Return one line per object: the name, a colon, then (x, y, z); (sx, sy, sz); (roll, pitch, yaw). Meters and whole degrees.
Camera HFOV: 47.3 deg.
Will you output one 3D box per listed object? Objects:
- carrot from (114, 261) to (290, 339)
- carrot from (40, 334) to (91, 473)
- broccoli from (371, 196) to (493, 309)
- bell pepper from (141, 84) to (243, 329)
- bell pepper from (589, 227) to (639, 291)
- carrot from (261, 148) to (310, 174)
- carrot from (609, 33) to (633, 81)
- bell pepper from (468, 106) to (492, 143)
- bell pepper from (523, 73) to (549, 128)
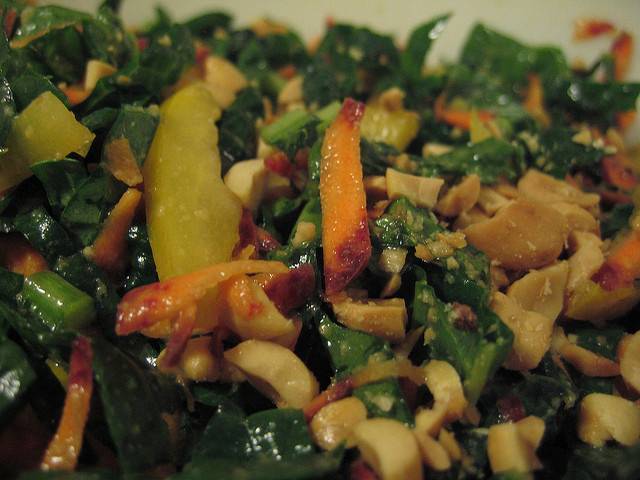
carrot: (-0.219, 0.122, 1.439); (0.218, 0.062, 0.061); (-20, 50, -17)
carrot: (-0.471, 0.333, 1.383); (0.064, 0.325, 0.037); (6, -5, -23)
broccoli: (0.263, 0.031, 1.592); (0.177, 0.094, 0.314); (1, 30, -3)
bell pepper: (-0.262, -0.089, 1.509); (0.146, 0.493, 0.193); (-4, 20, -17)
bell pepper: (0.641, 0.054, 1.567); (0.031, 0.138, 0.075); (35, 11, -43)
carrot: (-0.077, -0.173, 1.631); (0.080, 0.061, 0.022); (-5, 33, -16)
carrot: (0.812, -0.496, 1.984); (0.052, 0.107, 0.055); (18, 10, 17)
bell pepper: (0.407, -0.292, 1.873); (0.058, 0.065, 0.255); (16, 11, 2)
bell pepper: (0.565, -0.366, 1.926); (0.040, 0.212, 0.061); (-2, 43, 27)
